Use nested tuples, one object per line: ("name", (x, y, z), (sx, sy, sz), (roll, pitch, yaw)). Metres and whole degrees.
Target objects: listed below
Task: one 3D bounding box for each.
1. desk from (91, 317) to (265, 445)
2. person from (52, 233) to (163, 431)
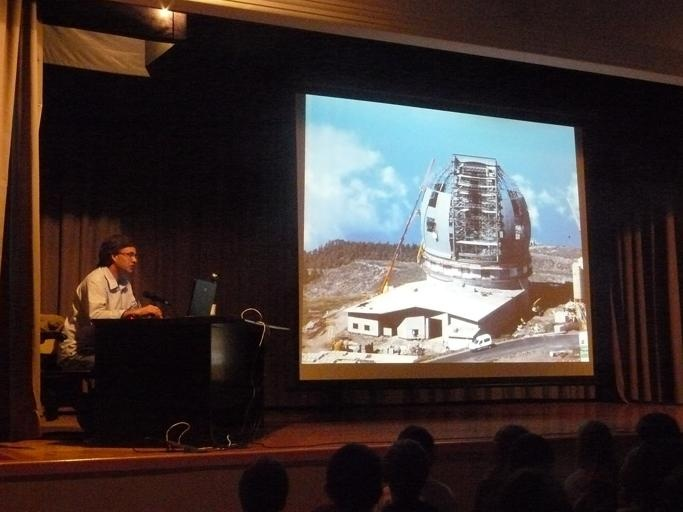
("desk", (-0.691, 0.424, 3.075), (0.661, 0.456, 0.510), (0, -2, 3))
("person", (-1.107, 0.321, 3.544), (0.485, 0.798, 0.375), (8, 7, 15))
